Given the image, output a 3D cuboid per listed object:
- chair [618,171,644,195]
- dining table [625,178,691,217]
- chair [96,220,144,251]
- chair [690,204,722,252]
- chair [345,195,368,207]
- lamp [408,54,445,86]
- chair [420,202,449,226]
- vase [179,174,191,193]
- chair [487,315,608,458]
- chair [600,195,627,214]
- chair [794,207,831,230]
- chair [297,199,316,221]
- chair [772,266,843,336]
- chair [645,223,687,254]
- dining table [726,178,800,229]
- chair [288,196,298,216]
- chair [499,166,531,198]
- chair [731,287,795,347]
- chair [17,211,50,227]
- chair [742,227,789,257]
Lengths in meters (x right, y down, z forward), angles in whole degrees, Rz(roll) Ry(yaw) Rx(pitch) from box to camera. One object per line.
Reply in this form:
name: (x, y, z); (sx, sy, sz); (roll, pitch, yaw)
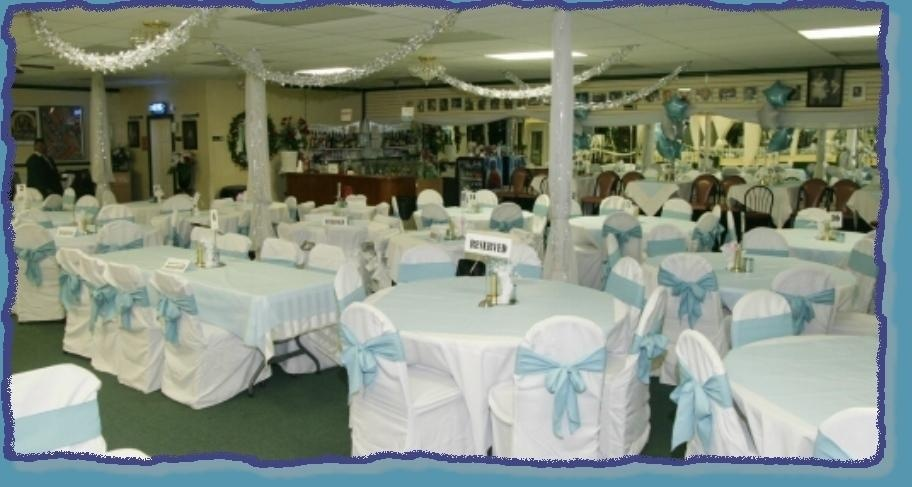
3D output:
chair: (4.325, -1.500, 15.838); (0.638, 0.827, 0.632); (0, 7, 13)
dining table: (4.766, -1.007, 15.055); (1.141, 0.712, 0.911); (4, 6, 37)
chair: (-4.713, -0.108, 8.932); (0.429, 0.523, 0.547); (-2, -8, -25)
chair: (3.641, -0.209, 9.248); (0.359, 0.610, 0.688); (6, 12, 29)
chair: (-2.007, -0.863, 12.516); (0.322, 0.144, 0.394); (-1, -1, -37)
lamp: (-0.601, -3.476, 12.362); (0.812, 0.625, 0.775); (0, -7, 3)
chair: (-0.343, -0.460, 10.364); (0.373, 0.376, 0.525); (-4, 11, -20)
vase: (-7.276, -1.565, 17.029); (0.319, 0.486, 0.538); (-5, 11, -22)
chair: (0.966, 1.288, 5.998); (1.090, 1.386, 1.152); (6, 11, 37)
chair: (2.727, -0.681, 11.019); (0.332, 0.197, 0.411); (-3, 0, -29)
chair: (5.394, -0.376, 9.618); (0.389, 0.281, 0.426); (5, 11, 24)
chair: (-3.016, -0.638, 12.726); (0.259, 0.379, 0.747); (-4, 11, -20)
chair: (3.707, 0.607, 6.648); (0.674, 0.771, 0.853); (-5, -10, 17)
chair: (2.843, -0.047, 8.557); (0.474, 0.439, 0.411); (3, 11, 17)
dining table: (6.720, -0.908, 13.580); (1.119, 0.534, 1.119); (9, 16, 37)
chair: (-3.290, -0.730, 12.716); (0.190, 0.392, 0.379); (-2, 11, -9)
chair: (1.543, -1.518, 16.168); (0.688, 0.791, 0.915); (0, 0, -7)
chair: (2.857, 0.682, 6.059); (0.552, 0.521, 0.595); (-8, -5, 39)
chair: (-6.471, -0.365, 9.675); (0.321, 0.137, 0.427); (0, 4, -17)
chair: (4.070, -0.008, 8.419); (0.493, 0.649, 0.509); (0, 8, 27)
